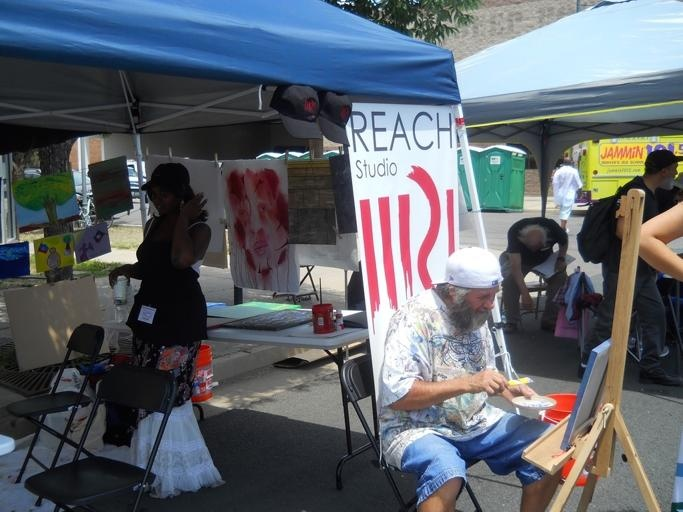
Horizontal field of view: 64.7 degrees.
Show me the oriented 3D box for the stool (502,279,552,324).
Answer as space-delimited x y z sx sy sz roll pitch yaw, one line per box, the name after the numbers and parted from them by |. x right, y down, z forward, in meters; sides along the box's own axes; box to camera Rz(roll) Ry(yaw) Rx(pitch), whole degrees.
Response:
2.759 0.694 8.034 0.677 0.701 0.538 -1 16 1 | stool

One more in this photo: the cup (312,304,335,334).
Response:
-0.123 0.488 4.253 0.196 0.232 0.204 -1 8 0 | cup

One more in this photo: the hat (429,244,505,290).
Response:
0.742 0.069 3.182 0.435 0.237 0.335 6 7 35 | hat

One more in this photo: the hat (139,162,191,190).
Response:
-1.320 -0.582 4.063 0.271 0.153 0.207 3 2 -13 | hat

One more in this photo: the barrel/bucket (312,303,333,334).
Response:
-0.135 0.501 4.323 0.194 0.224 0.200 1 2 0 | barrel/bucket

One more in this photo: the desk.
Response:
-0.112 0.727 4.253 1.467 1.157 1.218 2 9 30 | desk
